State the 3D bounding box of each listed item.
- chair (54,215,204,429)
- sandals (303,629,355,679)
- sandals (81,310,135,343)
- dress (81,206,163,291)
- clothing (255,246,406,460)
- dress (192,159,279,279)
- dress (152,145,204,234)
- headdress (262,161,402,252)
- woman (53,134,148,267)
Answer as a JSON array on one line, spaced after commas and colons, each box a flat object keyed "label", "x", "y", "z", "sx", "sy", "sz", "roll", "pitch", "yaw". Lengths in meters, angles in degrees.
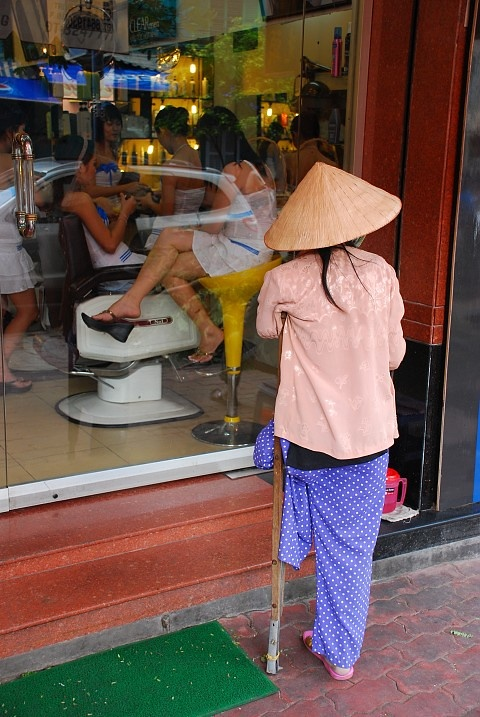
[{"label": "chair", "x": -0.582, "y": -0.122, "z": 3.042, "sx": 0.778, "sy": 0.878, "sz": 0.675, "roll": -4, "pitch": 17, "yaw": -21}, {"label": "sandals", "x": 0.279, "y": 0.967, "z": 1.907, "sx": 0.079, "sy": 0.077, "sz": 0.216, "roll": -13, "pitch": 38, "yaw": -26}, {"label": "sandals", "x": -0.587, "y": -0.141, "z": 2.614, "sx": 0.245, "sy": 0.096, "sz": 0.084, "roll": 14, "pitch": 23, "yaw": -30}, {"label": "dress", "x": -0.544, "y": -0.555, "z": 2.651, "sx": 0.361, "sy": 0.376, "sz": 0.267, "roll": -22, "pitch": 43, "yaw": -21}, {"label": "clothing", "x": 0.251, "y": -0.018, "z": 1.557, "sx": 0.410, "sy": 0.557, "sz": 0.227, "roll": 5, "pitch": 5, "yaw": 3}, {"label": "dress", "x": 0.000, "y": -0.656, "z": 2.695, "sx": 0.506, "sy": 0.529, "sz": 0.442, "roll": 5, "pitch": 22, "yaw": 14}, {"label": "dress", "x": -0.277, "y": -0.744, "z": 2.463, "sx": 0.178, "sy": 0.321, "sz": 0.253, "roll": 20, "pitch": 29, "yaw": 22}, {"label": "headdress", "x": 0.246, "y": -0.391, "z": 1.481, "sx": 0.346, "sy": 0.242, "sz": 0.162, "roll": 5, "pitch": 5, "yaw": 1}, {"label": "woman", "x": -0.602, "y": -0.657, "z": 2.447, "sx": 0.420, "sy": 0.608, "sz": 0.278, "roll": -15, "pitch": 38, "yaw": -32}]
